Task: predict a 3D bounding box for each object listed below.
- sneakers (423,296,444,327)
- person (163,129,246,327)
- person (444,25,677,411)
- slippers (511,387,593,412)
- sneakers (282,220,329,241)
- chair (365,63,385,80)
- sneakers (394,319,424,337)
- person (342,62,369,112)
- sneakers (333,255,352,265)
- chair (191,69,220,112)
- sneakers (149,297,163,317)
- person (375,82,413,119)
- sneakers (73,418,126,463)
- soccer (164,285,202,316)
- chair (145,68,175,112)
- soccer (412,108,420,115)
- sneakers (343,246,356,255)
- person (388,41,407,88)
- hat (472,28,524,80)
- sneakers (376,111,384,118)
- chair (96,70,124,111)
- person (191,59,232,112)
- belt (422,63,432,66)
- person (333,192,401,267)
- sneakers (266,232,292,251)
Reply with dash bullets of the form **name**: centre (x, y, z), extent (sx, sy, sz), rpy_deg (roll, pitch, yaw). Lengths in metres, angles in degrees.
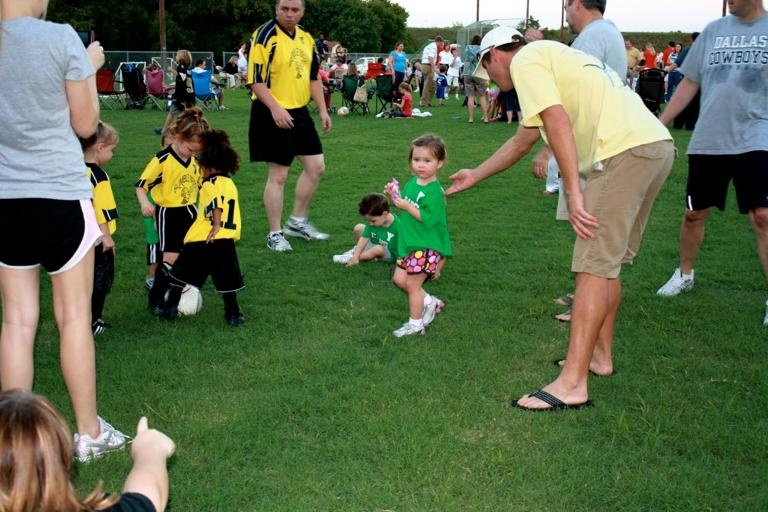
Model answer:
- **sneakers**: centre (0.395, 0.411, 5.213), extent (0.108, 0.132, 0.291), rpy_deg (-36, 1, 29)
- **person**: centre (-1.400, -0.225, 5.070), extent (0.600, 1.475, 0.422), rpy_deg (0, 14, -4)
- **person**: centre (1.174, -0.260, 4.187), extent (1.193, 2.391, 0.862), rpy_deg (7, 15, 22)
- **slippers**: centre (1.097, 0.921, 4.132), extent (0.393, 0.092, 0.193), rpy_deg (3, -4, 4)
- **sneakers**: centre (-0.871, -0.281, 7.050), extent (0.534, 0.221, 0.207), rpy_deg (7, 24, -4)
- **chair**: centre (-0.272, -5.529, 19.332), extent (0.733, 0.337, 0.801), rpy_deg (-1, 8, 0)
- **sneakers**: centre (0.202, 0.559, 5.023), extent (0.267, 0.110, 0.106), rpy_deg (-9, 37, -5)
- **person**: centre (-0.831, -4.818, 18.514), extent (0.795, 1.396, 1.950), rpy_deg (1, 14, -3)
- **sneakers**: centre (-0.411, 0.033, 6.295), extent (0.193, 0.079, 0.075), rpy_deg (8, 10, -7)
- **chair**: centre (-4.735, -4.357, 17.152), extent (0.687, 0.968, 0.749), rpy_deg (1, 6, -1)
- **sneakers**: centre (-1.824, 0.407, 5.198), extent (0.119, 0.112, 0.143), rpy_deg (-5, -21, 1)
- **person**: centre (0.328, -4.237, 17.556), extent (0.918, 0.889, 0.671), rpy_deg (1, 19, 5)
- **sneakers**: centre (-1.638, 1.059, 3.762), extent (0.129, 0.205, 0.364), rpy_deg (10, 4, 25)
- **soccer**: centre (-1.561, 0.357, 5.159), extent (0.210, 0.245, 0.221), rpy_deg (-3, -18, 19)
- **chair**: centre (-6.534, -4.699, 18.540), extent (0.877, 1.064, 0.806), rpy_deg (-3, 4, -27)
- **soccer**: centre (0.891, -4.053, 18.200), extent (0.268, 0.139, 0.359), rpy_deg (4, 30, 3)
- **sneakers**: centre (-0.335, -0.043, 6.434), extent (0.055, 0.067, 0.163), rpy_deg (1, -2, 18)
- **person**: centre (0.489, -6.037, 20.997), extent (0.618, 1.665, 0.464), rpy_deg (-7, 28, -15)
- **hat**: centre (0.769, -1.362, 4.251), extent (0.290, 0.290, 0.211), rpy_deg (-15, -12, 43)
- **sneakers**: centre (-0.107, -3.890, 17.784), extent (0.152, 0.099, 0.245), rpy_deg (0, 20, 3)
- **chair**: centre (-7.555, -4.563, 17.817), extent (0.714, 0.918, 0.798), rpy_deg (4, 4, 23)
- **person**: centre (-4.770, -4.362, 17.190), extent (0.972, 1.028, 0.932), rpy_deg (2, 8, -14)
- **belt**: centre (1.310, -5.911, 19.911), extent (0.195, 0.044, 0.182), rpy_deg (1, 5, -1)
- **person**: centre (-0.174, -0.266, 6.354), extent (0.720, 0.737, 0.527), rpy_deg (3, 20, 5)
- **sneakers**: centre (-1.086, -0.149, 6.662), extent (0.132, 0.143, 0.339), rpy_deg (-11, 12, -29)
